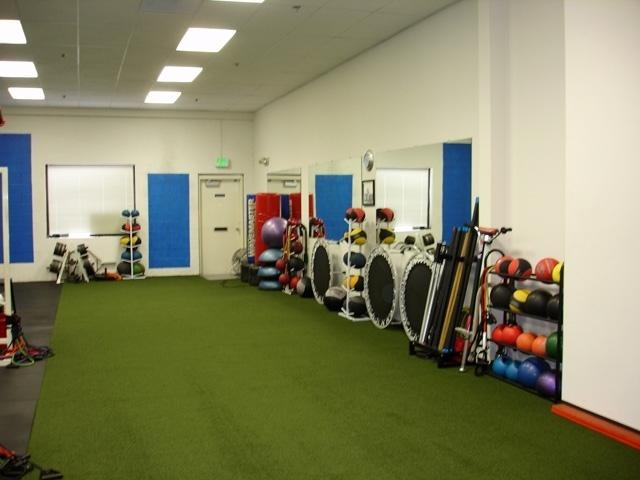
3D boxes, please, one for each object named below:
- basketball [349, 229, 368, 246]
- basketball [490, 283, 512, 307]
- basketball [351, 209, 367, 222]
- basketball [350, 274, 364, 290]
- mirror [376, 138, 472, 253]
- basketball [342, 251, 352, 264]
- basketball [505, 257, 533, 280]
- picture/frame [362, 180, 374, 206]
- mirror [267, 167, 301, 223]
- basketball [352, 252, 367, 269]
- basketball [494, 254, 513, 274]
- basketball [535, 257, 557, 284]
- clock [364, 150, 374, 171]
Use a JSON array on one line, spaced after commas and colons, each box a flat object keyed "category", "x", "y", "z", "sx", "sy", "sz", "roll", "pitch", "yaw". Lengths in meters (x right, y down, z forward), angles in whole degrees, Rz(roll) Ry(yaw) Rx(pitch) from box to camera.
[{"category": "basketball", "x": 0.623, "y": -0.057, "z": 7.651, "sx": 0.249, "sy": 0.221, "sz": 0.206, "roll": 7, "pitch": -10, "yaw": -39}, {"category": "basketball", "x": 1.930, "y": 0.588, "z": 4.958, "sx": 0.200, "sy": 0.265, "sz": 0.213, "roll": 1, "pitch": -8, "yaw": -5}, {"category": "basketball", "x": 0.625, "y": -0.409, "z": 7.604, "sx": 0.199, "sy": 0.238, "sz": 0.288, "roll": 1, "pitch": 5, "yaw": 16}, {"category": "basketball", "x": 0.617, "y": 0.695, "z": 7.658, "sx": 0.147, "sy": 0.217, "sz": 0.206, "roll": -26, "pitch": -5, "yaw": -24}, {"category": "mirror", "x": 1.438, "y": -0.606, "z": 6.292, "sx": 0.051, "sy": 1.259, "sz": 1.601, "roll": 1, "pitch": -1, "yaw": -27}, {"category": "basketball", "x": 0.434, "y": 0.271, "z": 7.693, "sx": 0.112, "sy": 0.183, "sz": 0.149, "roll": 2, "pitch": -10, "yaw": -5}, {"category": "basketball", "x": 2.079, "y": 0.302, "z": 4.868, "sx": 0.190, "sy": 0.215, "sz": 0.201, "roll": 13, "pitch": 25, "yaw": 9}, {"category": "picture/frame", "x": 0.781, "y": -0.768, "z": 7.591, "sx": 0.029, "sy": 0.434, "sz": 0.395, "roll": 0, "pitch": 3, "yaw": -18}, {"category": "mirror", "x": -0.828, "y": -1.030, "z": 10.830, "sx": 0.639, "sy": 1.334, "sz": 1.232, "roll": -3, "pitch": 6, "yaw": -26}, {"category": "basketball", "x": 0.643, "y": 0.334, "z": 7.781, "sx": 0.276, "sy": 0.267, "sz": 0.248, "roll": 0, "pitch": 5, "yaw": -1}, {"category": "basketball", "x": 1.969, "y": 0.252, "z": 5.005, "sx": 0.154, "sy": 0.181, "sz": 0.168, "roll": -3, "pitch": 1, "yaw": 7}, {"category": "basketball", "x": 2.248, "y": 0.300, "z": 4.651, "sx": 0.206, "sy": 0.250, "sz": 0.217, "roll": -2, "pitch": 4, "yaw": 18}, {"category": "clock", "x": 0.796, "y": -1.297, "z": 7.650, "sx": 0.065, "sy": 0.280, "sz": 0.275, "roll": 3, "pitch": -39, "yaw": -17}]
